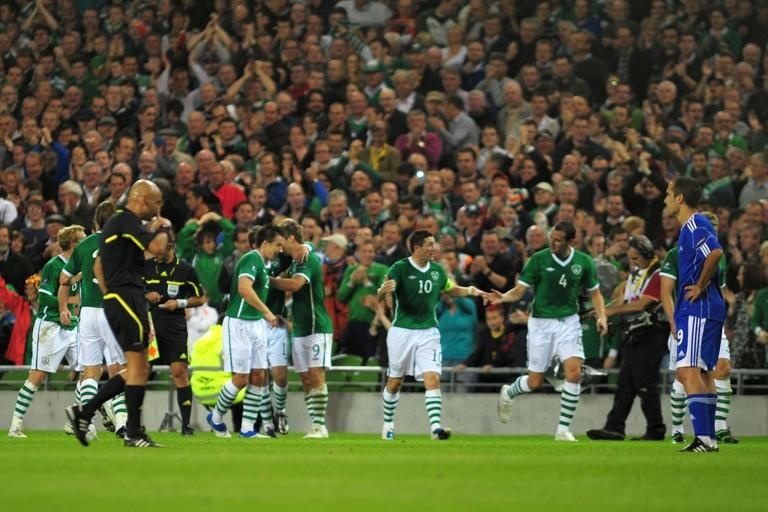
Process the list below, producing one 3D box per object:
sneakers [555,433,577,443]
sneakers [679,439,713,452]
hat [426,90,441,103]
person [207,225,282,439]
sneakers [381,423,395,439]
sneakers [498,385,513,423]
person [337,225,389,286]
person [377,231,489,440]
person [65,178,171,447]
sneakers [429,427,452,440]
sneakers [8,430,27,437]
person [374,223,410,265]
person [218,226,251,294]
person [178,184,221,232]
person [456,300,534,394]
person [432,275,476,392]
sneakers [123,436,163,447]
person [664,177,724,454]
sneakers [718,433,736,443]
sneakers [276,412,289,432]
[{"bbox_3d":[2.902,2.920,21.734,0.349,0.161,0.143,-3,-3,18],"label":"sneakers"},{"bbox_3d":[4.534,2.750,19.710,0.516,0.223,0.181,1,-5,7],"label":"sneakers"},{"bbox_3d":[1.022,-3.310,28.192,0.395,0.347,0.231,0,-4,-3],"label":"hat"},{"bbox_3d":[-2.124,1.206,21.688,0.836,3.398,1.288,2,-5,-33],"label":"person"},{"bbox_3d":[0.053,2.826,21.891,0.184,0.285,0.275,3,28,1],"label":"sneakers"},{"bbox_3d":[2.035,2.480,22.634,0.219,0.691,0.284,-7,16,-23],"label":"sneakers"},{"bbox_3d":[-0.351,0.306,23.999,0.790,1.334,0.704,2,0,25],"label":"person"},{"bbox_3d":[0.498,1.242,21.674,1.190,3.378,0.717,-1,-4,3],"label":"person"},{"bbox_3d":[-3.758,0.829,19.491,1.218,3.832,0.681,0,-4,-7],"label":"person"},{"bbox_3d":[0.874,2.776,21.336,0.189,0.144,0.382,19,-29,-36],"label":"sneakers"},{"bbox_3d":[-5.960,2.899,21.964,0.338,0.141,0.132,-3,-8,14],"label":"sneakers"},{"bbox_3d":[0.138,-0.211,24.789,0.678,0.559,0.365,-4,-18,8],"label":"person"},{"bbox_3d":[-2.749,0.055,24.866,0.408,1.260,0.914,10,4,43],"label":"person"},{"bbox_3d":[-3.595,-1.070,27.010,0.814,0.870,0.658,-5,-12,-7],"label":"person"},{"bbox_3d":[1.861,1.618,23.687,0.966,1.554,0.721,4,-3,23],"label":"person"},{"bbox_3d":[1.238,1.384,24.233,0.812,2.940,0.922,-4,32,-8],"label":"person"},{"bbox_3d":[-3.504,2.704,19.637,0.523,0.226,0.194,1,-2,-1],"label":"sneakers"},{"bbox_3d":[4.587,0.846,19.948,0.794,4.043,0.542,-1,-4,13],"label":"person"},{"bbox_3d":[5.520,2.903,21.601,0.379,0.180,0.137,3,-4,-25],"label":"sneakers"},{"bbox_3d":[-1.721,2.804,22.669,0.145,0.387,0.155,-11,-2,-36],"label":"sneakers"}]
